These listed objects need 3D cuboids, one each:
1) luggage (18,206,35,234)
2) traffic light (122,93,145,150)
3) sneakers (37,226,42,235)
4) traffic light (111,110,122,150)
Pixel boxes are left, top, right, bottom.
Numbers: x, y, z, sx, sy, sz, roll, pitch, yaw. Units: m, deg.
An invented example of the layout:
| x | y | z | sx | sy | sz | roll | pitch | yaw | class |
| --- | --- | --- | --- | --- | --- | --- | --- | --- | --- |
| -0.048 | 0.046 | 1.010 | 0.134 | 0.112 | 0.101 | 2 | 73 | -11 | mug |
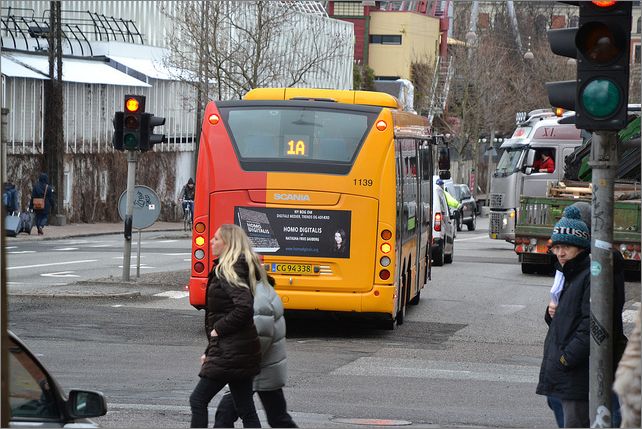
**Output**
| x | y | z | sx | sy | sz | roll | pitch | yaw | class |
| --- | --- | --- | --- | --- | --- | --- | --- | --- | --- |
| -9.898 | 0.289 | 35.216 | 0.448 | 0.800 | 0.736 | -1 | 4 | -15 | luggage |
| -3.942 | -1.965 | 22.054 | 0.427 | 1.149 | 0.383 | -1 | 3 | -4 | traffic light |
| -9.558 | 0.540 | 35.610 | 0.088 | 0.161 | 0.248 | 40 | 5 | -33 | sneakers |
| -4.254 | -1.790 | 21.973 | 0.220 | 0.787 | 0.294 | -1 | 4 | -12 | traffic light |
